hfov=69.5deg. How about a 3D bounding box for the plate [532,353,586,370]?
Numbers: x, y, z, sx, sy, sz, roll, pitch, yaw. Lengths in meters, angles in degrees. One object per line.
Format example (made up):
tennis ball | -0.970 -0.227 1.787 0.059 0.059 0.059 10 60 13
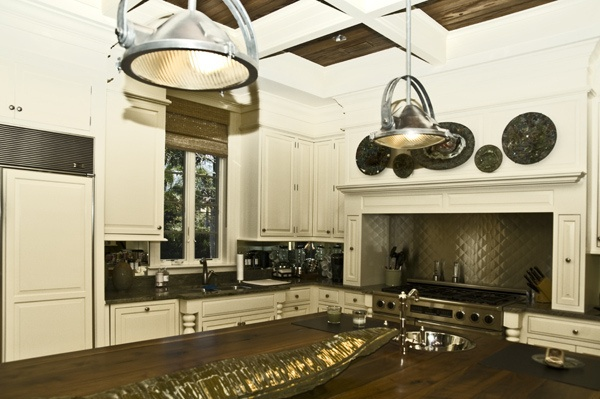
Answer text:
plate | 1.600 1.001 2.698 0.278 0.043 0.213 -2 -5 19

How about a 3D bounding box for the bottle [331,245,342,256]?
bottle | 0.534 0.691 6.239 0.197 0.135 0.041 -3 -6 32

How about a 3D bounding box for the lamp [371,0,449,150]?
lamp | 0.776 -0.986 3.075 0.461 1.172 0.442 4 -6 -36

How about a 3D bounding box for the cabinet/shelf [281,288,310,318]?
cabinet/shelf | -0.041 1.303 5.608 0.104 0.347 0.462 -4 -7 40

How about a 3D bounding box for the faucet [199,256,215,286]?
faucet | -1.152 0.893 5.403 0.183 0.331 0.410 1 -5 -13

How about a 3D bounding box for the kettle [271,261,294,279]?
kettle | -0.236 0.982 6.103 0.226 0.114 0.255 1 -3 -24

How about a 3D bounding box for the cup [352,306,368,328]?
cup | 0.449 0.887 3.252 0.086 0.121 0.121 -1 -5 16

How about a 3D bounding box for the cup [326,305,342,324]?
cup | 0.270 0.896 3.440 0.139 0.129 0.137 0 2 0
